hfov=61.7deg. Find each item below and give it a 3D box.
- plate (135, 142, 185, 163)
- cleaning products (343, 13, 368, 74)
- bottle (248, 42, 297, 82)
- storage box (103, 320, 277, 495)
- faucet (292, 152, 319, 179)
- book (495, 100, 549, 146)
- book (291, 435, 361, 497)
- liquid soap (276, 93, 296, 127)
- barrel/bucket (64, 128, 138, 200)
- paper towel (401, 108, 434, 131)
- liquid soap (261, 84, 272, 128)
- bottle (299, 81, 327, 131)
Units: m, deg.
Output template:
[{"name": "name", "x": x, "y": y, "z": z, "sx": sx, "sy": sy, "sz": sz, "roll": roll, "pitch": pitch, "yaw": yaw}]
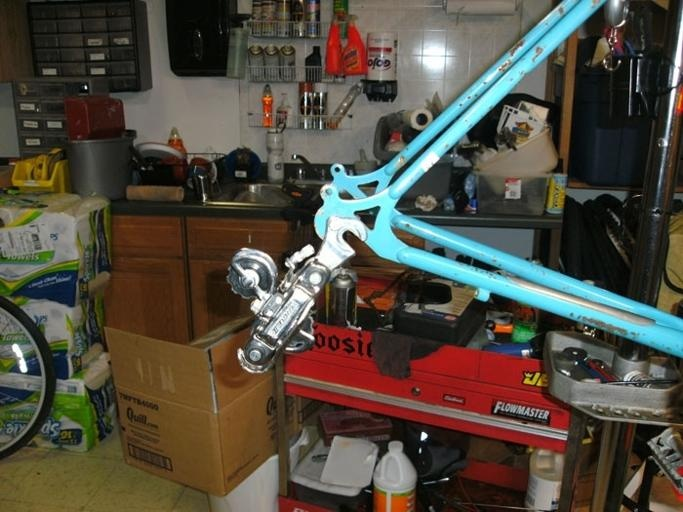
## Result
[{"name": "plate", "x": -1.142, "y": -0.659, "z": 3.589, "sx": 0.295, "sy": 0.103, "sz": 0.402, "roll": -6, "pitch": 15, "yaw": -19}, {"name": "cleaning products", "x": 0.064, "y": -1.262, "z": 3.405, "sx": 0.200, "sy": 0.340, "sz": 0.139, "roll": 12, "pitch": 18, "yaw": 42}, {"name": "bottle", "x": -0.437, "y": -1.208, "z": 3.591, "sx": 0.251, "sy": 0.252, "sz": 0.061, "roll": 1, "pitch": 11, "yaw": 0}, {"name": "storage box", "x": -0.575, "y": 0.563, "z": 2.559, "sx": 0.693, "sy": 0.688, "sz": 0.694, "roll": 10, "pitch": 17, "yaw": 24}, {"name": "faucet", "x": -0.230, "y": -0.577, "z": 3.685, "sx": 0.175, "sy": 0.158, "sz": 0.317, "roll": -2, "pitch": 14, "yaw": -5}, {"name": "book", "x": 0.919, "y": -0.665, "z": 2.885, "sx": 0.251, "sy": 0.227, "sz": 0.273, "roll": 3, "pitch": 14, "yaw": 16}, {"name": "book", "x": -0.085, "y": 0.880, "z": 2.339, "sx": 0.162, "sy": 0.037, "sz": 0.163, "roll": 7, "pitch": 30, "yaw": 15}, {"name": "liquid soap", "x": -0.356, "y": -0.944, "z": 3.705, "sx": 0.138, "sy": 0.217, "sz": 0.139, "roll": -2, "pitch": 14, "yaw": -4}, {"name": "barrel/bucket", "x": -1.375, "y": -0.531, "z": 3.295, "sx": 0.376, "sy": 0.352, "sz": 0.376, "roll": 2, "pitch": 10, "yaw": 0}, {"name": "paper towel", "x": 0.406, "y": -0.710, "z": 3.000, "sx": 0.097, "sy": 0.086, "sz": 0.282, "roll": -8, "pitch": 11, "yaw": -2}, {"name": "liquid soap", "x": -0.480, "y": -0.975, "z": 3.714, "sx": 0.079, "sy": 0.275, "sz": 0.116, "roll": -2, "pitch": 14, "yaw": -5}, {"name": "bottle", "x": -0.178, "y": -0.958, "z": 3.615, "sx": 0.234, "sy": 0.371, "sz": 0.202, "roll": 4, "pitch": 16, "yaw": 9}]
